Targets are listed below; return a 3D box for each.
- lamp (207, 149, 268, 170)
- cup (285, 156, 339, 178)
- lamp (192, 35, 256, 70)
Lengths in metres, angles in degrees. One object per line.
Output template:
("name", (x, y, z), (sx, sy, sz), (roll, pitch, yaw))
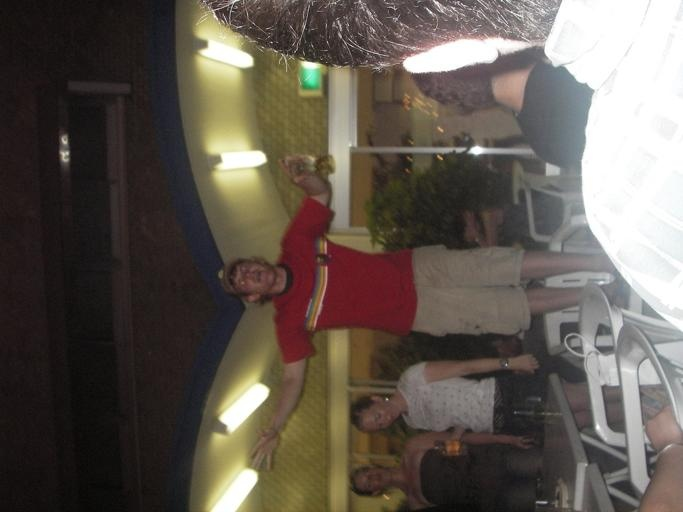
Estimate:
("lamp", (-0.583, -0.543, 3.877), (0.100, 0.096, 0.432), (7, 10, 36))
("cup", (-0.166, -0.468, 3.607), (0.119, 0.115, 0.387), (14, 9, 24))
("lamp", (-0.649, -1.133, 3.839), (0.117, 0.091, 0.640), (-1, 5, 17))
